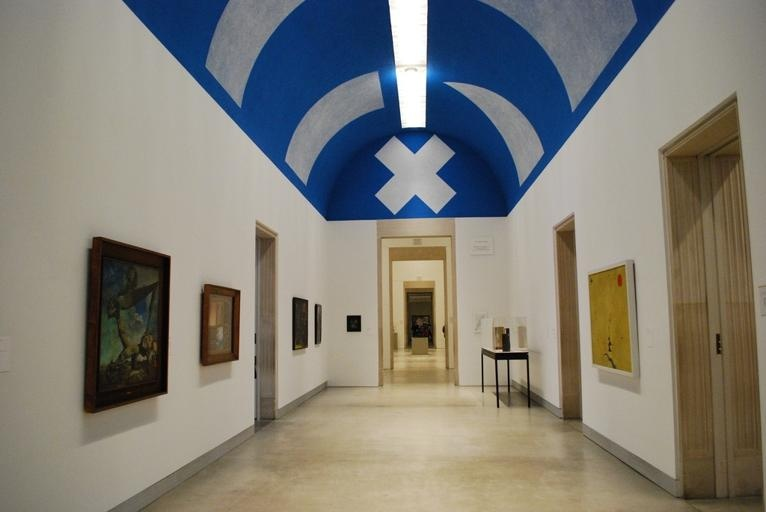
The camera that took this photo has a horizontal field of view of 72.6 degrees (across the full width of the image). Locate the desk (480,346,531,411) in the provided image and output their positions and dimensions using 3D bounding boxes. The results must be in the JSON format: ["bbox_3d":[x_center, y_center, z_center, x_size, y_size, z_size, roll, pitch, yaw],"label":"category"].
[{"bbox_3d":[2.387,2.113,9.697,0.539,1.042,1.628,-5,-21,8],"label":"desk"}]

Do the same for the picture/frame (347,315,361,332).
[{"bbox_3d":[-0.709,1.660,12.676,0.344,0.439,0.046,-1,-7,-1],"label":"picture/frame"}]
